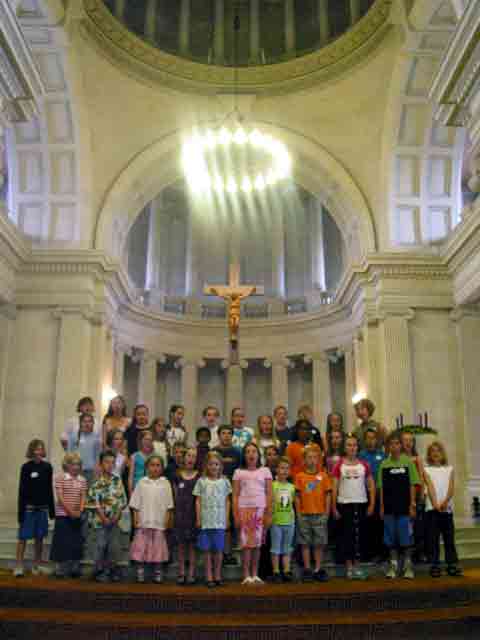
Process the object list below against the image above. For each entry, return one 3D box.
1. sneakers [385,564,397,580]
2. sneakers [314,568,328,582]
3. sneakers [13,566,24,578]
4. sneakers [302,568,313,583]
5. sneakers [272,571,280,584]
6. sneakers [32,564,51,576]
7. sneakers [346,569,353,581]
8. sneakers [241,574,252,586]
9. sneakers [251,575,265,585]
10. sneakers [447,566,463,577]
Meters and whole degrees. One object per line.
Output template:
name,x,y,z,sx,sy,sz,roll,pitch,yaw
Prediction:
sneakers,1.537,2.562,6.319,0.079,0.154,0.167,-12,-25,29
sneakers,0.793,2.495,6.090,0.126,0.099,0.142,-1,-14,6
sneakers,-2.223,2.564,6.307,0.076,0.058,0.134,2,-20,-21
sneakers,0.669,2.489,6.084,0.110,0.097,0.199,-1,-14,5
sneakers,0.358,2.477,6.013,0.078,0.082,0.141,0,-14,3
sneakers,-2.004,2.548,6.368,0.169,0.085,0.287,5,-14,-19
sneakers,1.099,2.539,6.260,0.063,0.092,0.194,-2,-14,9
sneakers,0.074,2.471,5.921,0.091,0.083,0.170,2,-14,-5
sneakers,0.174,2.477,5.939,0.126,0.081,0.232,1,-3,-1
sneakers,2.208,2.607,6.449,0.080,0.061,0.138,4,-19,1
